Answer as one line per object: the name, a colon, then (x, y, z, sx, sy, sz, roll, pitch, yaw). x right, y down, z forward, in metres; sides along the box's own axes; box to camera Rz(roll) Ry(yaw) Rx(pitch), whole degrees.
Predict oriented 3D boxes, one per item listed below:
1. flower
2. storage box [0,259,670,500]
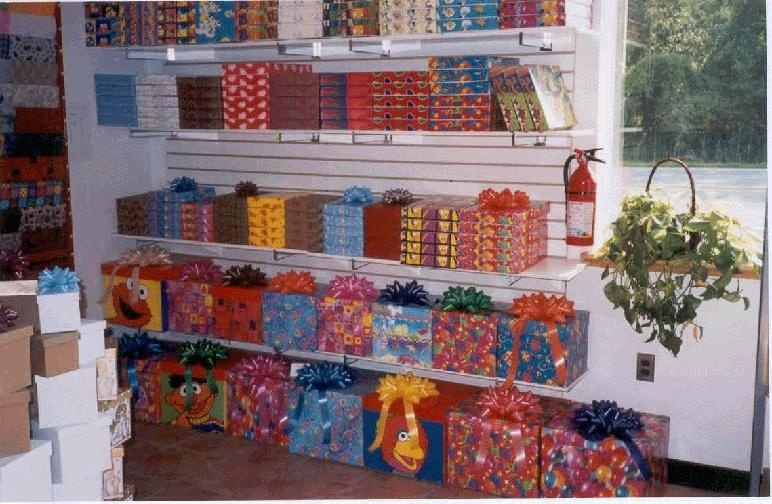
flower: (1.757, 0.013, 4.081, 0.902, 1.073, 1.022, -20, 19, -34)
storage box: (-0.389, 0.765, 4.332, 3.649, 1.696, 2.257, -1, 11, -2)
